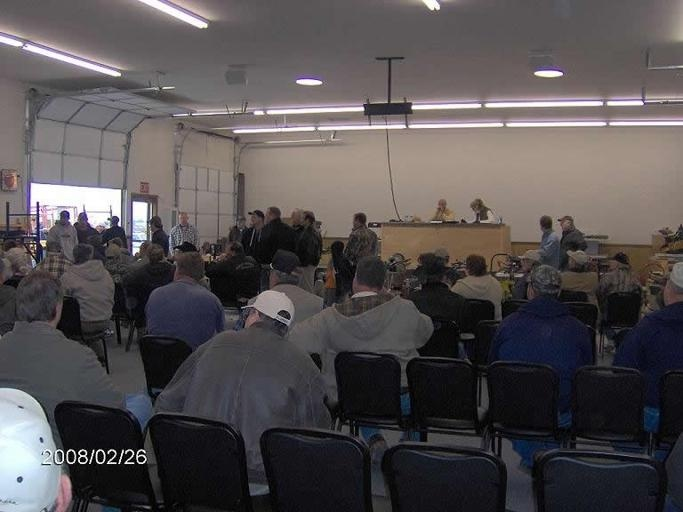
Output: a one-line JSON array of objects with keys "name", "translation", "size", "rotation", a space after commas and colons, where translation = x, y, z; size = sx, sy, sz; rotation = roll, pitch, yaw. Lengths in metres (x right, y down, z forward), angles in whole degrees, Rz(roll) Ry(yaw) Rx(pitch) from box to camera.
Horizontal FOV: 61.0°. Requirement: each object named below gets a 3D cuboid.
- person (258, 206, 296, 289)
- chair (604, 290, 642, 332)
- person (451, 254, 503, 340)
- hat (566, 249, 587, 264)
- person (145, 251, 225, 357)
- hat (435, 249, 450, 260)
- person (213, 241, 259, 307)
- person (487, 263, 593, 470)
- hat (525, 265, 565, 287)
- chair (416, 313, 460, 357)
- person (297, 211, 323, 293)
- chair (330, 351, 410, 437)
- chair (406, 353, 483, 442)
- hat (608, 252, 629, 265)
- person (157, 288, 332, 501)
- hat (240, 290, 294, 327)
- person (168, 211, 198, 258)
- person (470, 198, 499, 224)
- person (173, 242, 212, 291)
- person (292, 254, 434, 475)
[{"name": "person", "translation": [-0.817, -0.202, 9.392], "size": [0.550, 0.654, 1.703], "rotation": [14, -26, 8]}, {"name": "chair", "translation": [3.300, 0.637, 6.835], "size": [0.338, 0.655, 0.462], "rotation": [1, 4, 7]}, {"name": "person", "translation": [1.411, 0.362, 6.088], "size": [0.585, 0.807, 0.465], "rotation": [-5, 24, 1]}, {"name": "hat", "translation": [3.077, 0.017, 7.547], "size": [0.236, 0.167, 0.372], "rotation": [2, 2, 26]}, {"name": "person", "translation": [-1.245, 0.351, 4.845], "size": [0.637, 0.957, 0.581], "rotation": [-4, 34, -22]}, {"name": "hat", "translation": [1.194, -0.022, 6.916], "size": [0.161, 0.114, 0.249], "rotation": [9, 4, 35]}, {"name": "person", "translation": [-1.375, 0.252, 7.663], "size": [0.725, 0.931, 0.532], "rotation": [-1, 15, -14]}, {"name": "person", "translation": [1.421, 0.743, 4.277], "size": [0.724, 1.476, 0.757], "rotation": [17, 32, 37]}, {"name": "hat", "translation": [1.396, 0.141, 3.995], "size": [0.147, 0.152, 0.172], "rotation": [5, 13, 0]}, {"name": "chair", "translation": [0.852, 0.638, 4.972], "size": [0.293, 0.570, 0.343], "rotation": [3, 8, 24]}, {"name": "person", "translation": [-0.390, 0.071, 9.442], "size": [0.491, 1.457, 0.484], "rotation": [-8, 43, -1]}, {"name": "chair", "translation": [0.232, 0.867, 4.118], "size": [0.476, 0.839, 0.540], "rotation": [1, 11, 10]}, {"name": "chair", "translation": [0.690, 0.926, 3.859], "size": [0.498, 0.571, 0.362], "rotation": [2, 2, 15]}, {"name": "hat", "translation": [4.416, 0.039, 9.320], "size": [0.166, 0.166, 0.269], "rotation": [12, 14, -9]}, {"name": "person", "translation": [-0.480, 0.734, 3.090], "size": [0.854, 1.062, 0.541], "rotation": [9, 3, 13]}, {"name": "hat", "translation": [-0.393, 0.285, 3.095], "size": [0.219, 0.131, 0.161], "rotation": [27, 6, 27]}, {"name": "person", "translation": [-3.449, -0.192, 12.621], "size": [0.520, 1.491, 0.360], "rotation": [0, -17, -12]}, {"name": "person", "translation": [2.888, -0.888, 11.667], "size": [0.529, 0.503, 1.535], "rotation": [2, 2, 13]}, {"name": "person", "translation": [-1.631, 0.105, 6.372], "size": [0.170, 0.733, 0.735], "rotation": [-4, 11, -22]}, {"name": "person", "translation": [0.174, 0.716, 4.530], "size": [1.362, 1.824, 1.147], "rotation": [-1, 17, 0]}]
